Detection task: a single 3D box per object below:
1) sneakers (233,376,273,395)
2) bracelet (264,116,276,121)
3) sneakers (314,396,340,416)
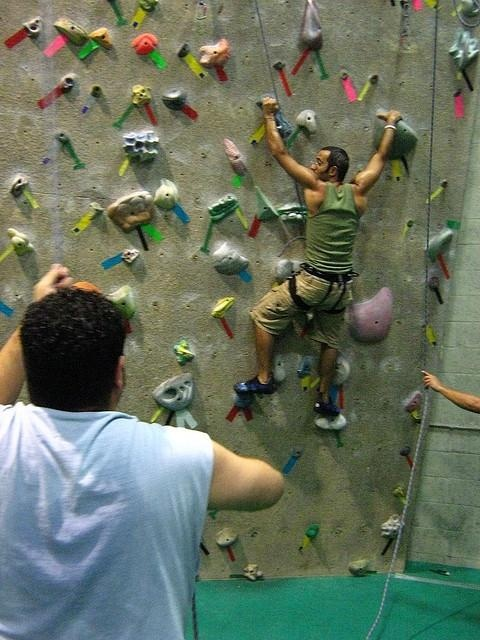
[{"bbox_3d":[0.088,0.361,3.634,0.253,0.098,0.079,2,25,-1],"label":"sneakers"},{"bbox_3d":[0.156,-1.033,3.375,0.041,0.027,0.029,-8,18,-31],"label":"bracelet"},{"bbox_3d":[0.481,0.484,3.692,0.168,0.099,0.081,6,41,-26],"label":"sneakers"}]
